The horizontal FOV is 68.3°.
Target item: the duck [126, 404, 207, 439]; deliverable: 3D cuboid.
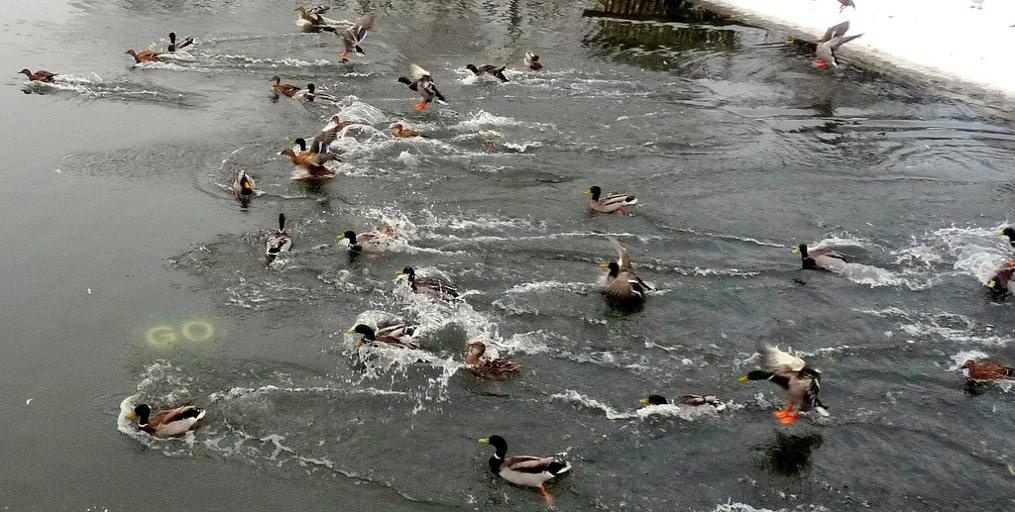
[{"bbox_3d":[-10.897,5.282,23.955,2.149,0.987,1.069,-9,2,-8],"label":"duck"}]
